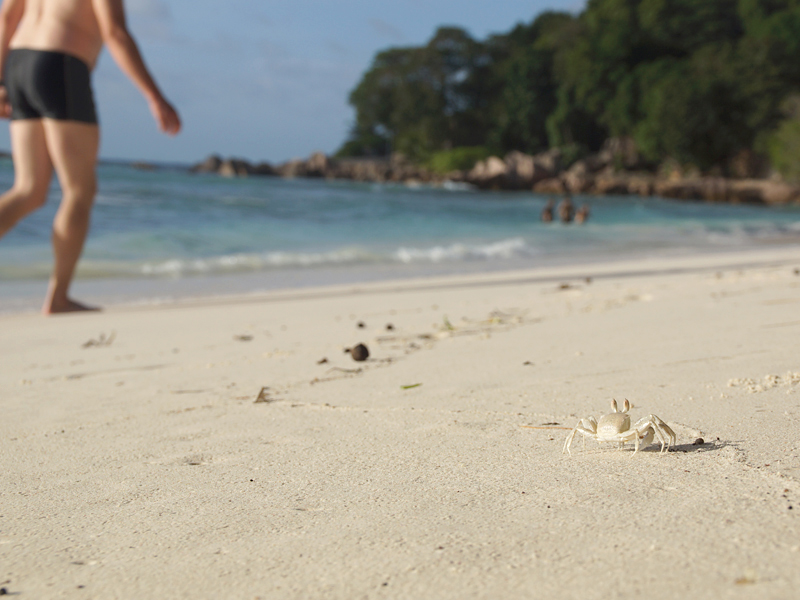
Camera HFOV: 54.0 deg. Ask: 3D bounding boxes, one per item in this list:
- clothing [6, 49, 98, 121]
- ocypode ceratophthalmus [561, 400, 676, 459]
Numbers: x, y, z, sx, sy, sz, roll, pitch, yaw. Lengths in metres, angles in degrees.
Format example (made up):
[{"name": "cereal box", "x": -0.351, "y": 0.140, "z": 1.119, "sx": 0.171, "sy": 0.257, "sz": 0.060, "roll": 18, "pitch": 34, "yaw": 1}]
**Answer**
[{"name": "clothing", "x": -2.034, "y": -1.255, "z": 4.745, "sx": 0.586, "sy": 0.389, "sz": 0.398, "roll": 10, "pitch": 19, "yaw": 18}, {"name": "ocypode ceratophthalmus", "x": 0.929, "y": 0.542, "z": 3.330, "sx": 0.461, "sy": 0.165, "sz": 0.232, "roll": 2, "pitch": 14, "yaw": 13}]
